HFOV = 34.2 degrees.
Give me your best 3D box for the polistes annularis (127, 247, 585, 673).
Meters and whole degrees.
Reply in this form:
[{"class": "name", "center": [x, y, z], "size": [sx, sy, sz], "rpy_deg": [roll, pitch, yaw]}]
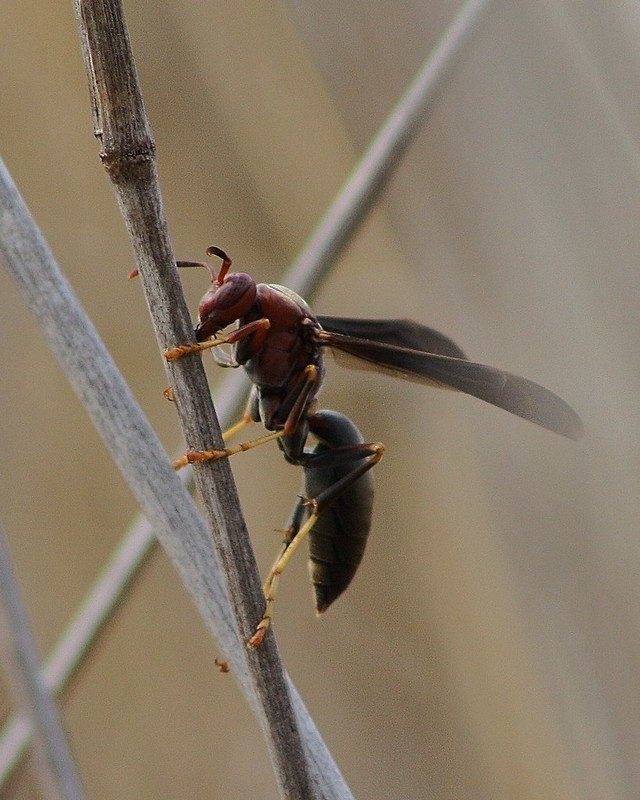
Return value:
[{"class": "polistes annularis", "center": [0.039, 0.019, 1.035], "size": [0.259, 0.471, 0.397], "rpy_deg": [-44, -62, -13]}]
